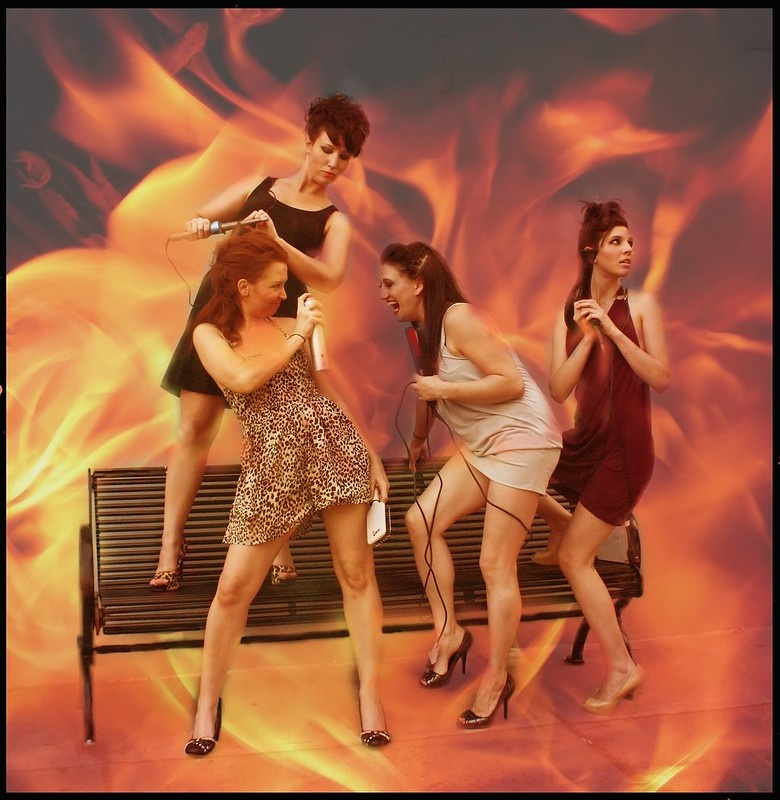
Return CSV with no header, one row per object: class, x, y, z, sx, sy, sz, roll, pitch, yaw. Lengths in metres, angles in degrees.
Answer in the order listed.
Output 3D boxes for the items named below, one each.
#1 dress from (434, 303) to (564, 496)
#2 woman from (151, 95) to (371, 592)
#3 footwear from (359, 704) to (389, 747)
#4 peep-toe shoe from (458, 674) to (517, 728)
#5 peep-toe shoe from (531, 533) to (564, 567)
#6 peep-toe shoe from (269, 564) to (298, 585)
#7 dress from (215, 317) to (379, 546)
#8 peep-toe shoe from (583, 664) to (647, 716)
dress,0.392,0.083,2.842,0.441,0.484,0.290,1,3,4
woman,-0.518,-0.216,3.138,0.701,1.992,0.650,5,12,-13
footwear,-0.047,1.045,2.488,0.085,0.116,0.071,1,3,-6
peep-toe shoe,0.331,1.056,2.804,0.248,0.189,0.115,-1,1,-19
peep-toe shoe,0.709,0.641,3.321,0.199,0.140,0.078,3,-9,-7
peep-toe shoe,-0.410,0.682,3.044,0.056,0.074,0.092,-7,-11,35
dress,-0.290,0.141,2.520,0.458,0.604,0.251,0,3,-11
peep-toe shoe,0.819,1.074,2.948,0.258,0.174,0.115,-20,12,32
